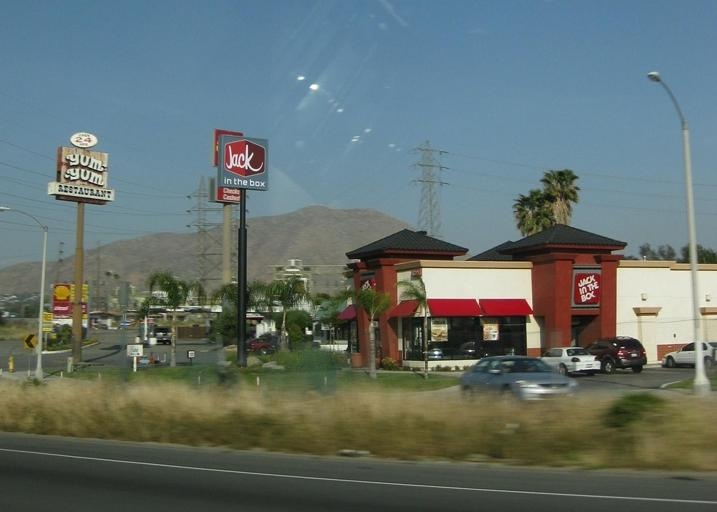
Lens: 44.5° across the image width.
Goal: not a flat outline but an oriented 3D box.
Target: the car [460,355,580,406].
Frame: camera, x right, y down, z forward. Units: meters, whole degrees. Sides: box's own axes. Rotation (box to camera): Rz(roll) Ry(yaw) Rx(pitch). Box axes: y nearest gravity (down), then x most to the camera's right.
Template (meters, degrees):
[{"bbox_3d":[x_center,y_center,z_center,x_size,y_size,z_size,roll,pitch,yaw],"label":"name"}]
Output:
[{"bbox_3d":[6.676,5.143,37.156,2.316,1.783,4.297,5,-9,-43],"label":"car"}]

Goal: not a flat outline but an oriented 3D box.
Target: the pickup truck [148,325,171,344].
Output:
[{"bbox_3d":[-20.928,8.552,93.928,1.749,1.355,2.767,1,-7,-17],"label":"pickup truck"}]

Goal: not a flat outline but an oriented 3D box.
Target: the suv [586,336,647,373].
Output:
[{"bbox_3d":[15.930,5.936,53.127,3.410,2.096,4.342,-10,-11,39],"label":"suv"}]
